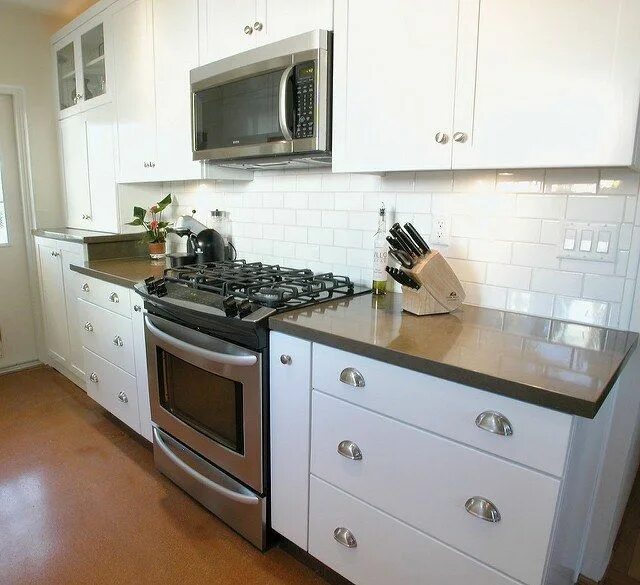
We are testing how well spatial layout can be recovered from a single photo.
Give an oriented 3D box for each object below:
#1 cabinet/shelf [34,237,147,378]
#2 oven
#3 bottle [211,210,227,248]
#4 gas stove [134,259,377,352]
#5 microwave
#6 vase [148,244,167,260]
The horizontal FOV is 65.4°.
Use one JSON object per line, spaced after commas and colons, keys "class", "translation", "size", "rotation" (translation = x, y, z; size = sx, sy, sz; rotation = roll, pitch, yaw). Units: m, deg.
{"class": "cabinet/shelf", "translation": [-1.350, 0.065, 2.945], "size": [0.718, 1.040, 0.464], "rotation": [13, 17, 42]}
{"class": "oven", "translation": [-0.360, 0.333, 2.357], "size": [0.927, 1.165, 0.725], "rotation": [12, 16, 43]}
{"class": "bottle", "translation": [-0.575, -0.368, 2.827], "size": [0.078, 0.184, 0.286], "rotation": [-4, 15, -13]}
{"class": "gas stove", "translation": [-0.420, 0.046, 1.993], "size": [0.510, 0.149, 0.355], "rotation": [15, 20, 12]}
{"class": "microwave", "translation": [-0.254, -0.789, 2.166], "size": [0.734, 0.414, 0.259], "rotation": [6, 13, 35]}
{"class": "vase", "translation": [-0.985, -0.249, 3.011], "size": [0.088, 0.115, 0.132], "rotation": [-5, 15, -15]}
